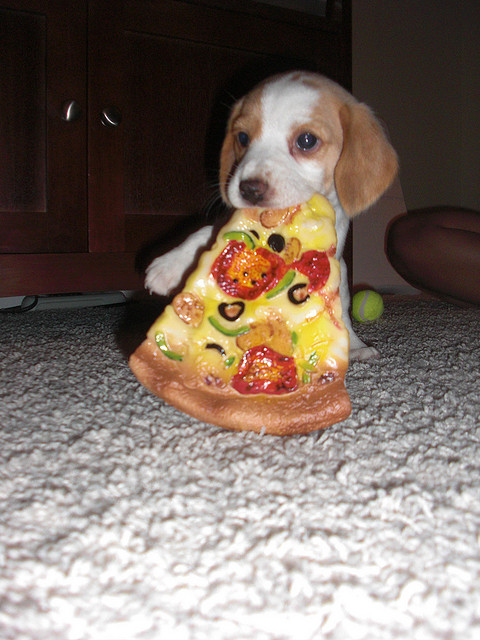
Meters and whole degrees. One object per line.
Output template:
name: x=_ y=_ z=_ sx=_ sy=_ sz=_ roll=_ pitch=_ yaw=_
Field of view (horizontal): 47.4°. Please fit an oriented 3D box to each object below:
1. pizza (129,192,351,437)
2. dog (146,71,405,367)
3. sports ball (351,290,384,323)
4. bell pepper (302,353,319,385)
pizza: x=0.002 y=-0.012 z=0.652 sx=0.256 sy=0.246 sz=0.187 roll=0 pitch=10 yaw=0
dog: x=0.139 y=-0.268 z=1.181 sx=0.398 sy=0.441 sz=0.752 roll=15 pitch=23 yaw=14
sports ball: x=0.308 y=-0.032 z=1.369 sx=0.081 sy=0.072 sz=0.076 roll=-2 pitch=28 yaw=1
bell pepper: x=0.084 y=0.058 z=0.650 sx=0.016 sy=0.032 sz=0.022 roll=5 pitch=11 yaw=24
